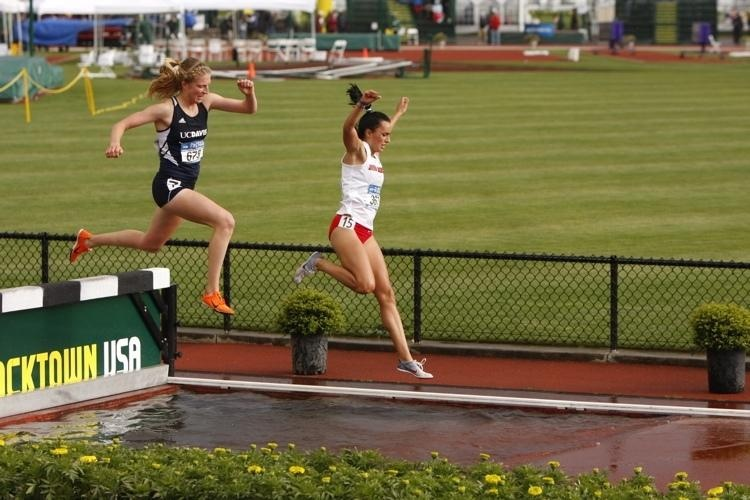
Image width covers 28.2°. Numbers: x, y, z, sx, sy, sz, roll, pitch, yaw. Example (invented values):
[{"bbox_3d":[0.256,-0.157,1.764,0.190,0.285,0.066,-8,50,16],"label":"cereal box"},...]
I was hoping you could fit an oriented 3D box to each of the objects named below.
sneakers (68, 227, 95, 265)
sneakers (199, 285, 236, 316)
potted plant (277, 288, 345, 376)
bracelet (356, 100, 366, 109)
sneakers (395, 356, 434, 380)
[{"bbox_3d":[-4.777,-0.057,24.377,0.314,0.640,0.218,22,34,-4],"label":"sneakers"},{"bbox_3d":[-2.160,0.695,20.760,0.673,0.234,0.227,25,35,11],"label":"sneakers"},{"bbox_3d":[-0.897,1.210,21.863,1.278,1.158,1.098,-11,-18,32],"label":"potted plant"},{"bbox_3d":[-0.196,-2.044,20.519,0.106,0.083,0.136,-4,-1,10],"label":"bracelet"},{"bbox_3d":[0.636,1.694,21.198,0.674,0.266,0.214,6,1,-5],"label":"sneakers"}]
